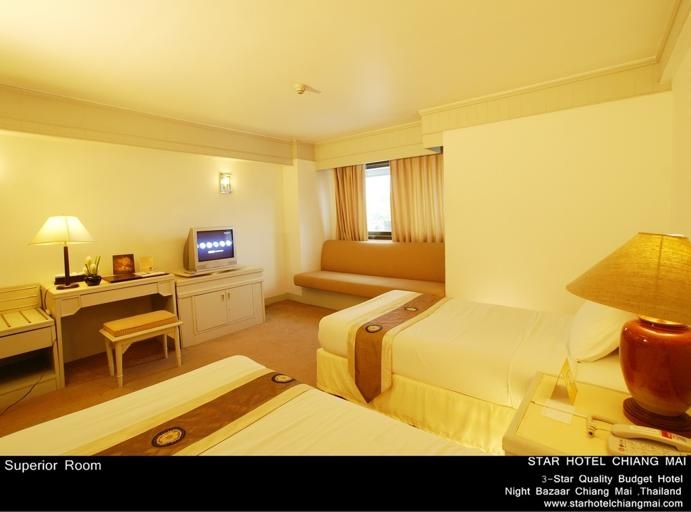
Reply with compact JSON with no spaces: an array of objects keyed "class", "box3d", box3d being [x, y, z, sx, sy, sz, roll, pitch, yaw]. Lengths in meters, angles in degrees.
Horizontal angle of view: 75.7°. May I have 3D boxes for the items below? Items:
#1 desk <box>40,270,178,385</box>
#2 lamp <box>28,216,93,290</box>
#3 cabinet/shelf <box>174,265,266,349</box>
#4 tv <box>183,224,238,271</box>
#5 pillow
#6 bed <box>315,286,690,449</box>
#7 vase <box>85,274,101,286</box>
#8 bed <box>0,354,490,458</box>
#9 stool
[{"class":"desk","box3d":[-2.137,0.591,4.489,1.112,0.852,0.628,-9,11,-10]},{"class":"lamp","box3d":[-2.546,-0.048,4.030,0.494,0.612,0.461,-6,0,-40]},{"class":"cabinet/shelf","box3d":[-1.528,0.573,5.167,0.460,0.728,1.198,2,8,37]},{"class":"tv","box3d":[-1.622,-0.079,5.244,0.370,0.484,0.610,0,5,36]},{"class":"pillow","box3d":[1.657,0.492,2.875,0.095,0.368,0.376,31,-22,-4]},{"class":"bed","box3d":[0.882,0.799,3.123,1.580,0.472,0.972,3,3,42]},{"class":"vase","box3d":[-2.352,0.228,4.125,0.101,0.069,0.105,2,-5,-41]},{"class":"bed","box3d":[-0.622,0.870,2.504,2.271,0.143,0.709,-1,13,1]},{"class":"stool","box3d":[-1.908,0.834,4.156,0.640,0.538,0.451,-11,14,-44]}]
